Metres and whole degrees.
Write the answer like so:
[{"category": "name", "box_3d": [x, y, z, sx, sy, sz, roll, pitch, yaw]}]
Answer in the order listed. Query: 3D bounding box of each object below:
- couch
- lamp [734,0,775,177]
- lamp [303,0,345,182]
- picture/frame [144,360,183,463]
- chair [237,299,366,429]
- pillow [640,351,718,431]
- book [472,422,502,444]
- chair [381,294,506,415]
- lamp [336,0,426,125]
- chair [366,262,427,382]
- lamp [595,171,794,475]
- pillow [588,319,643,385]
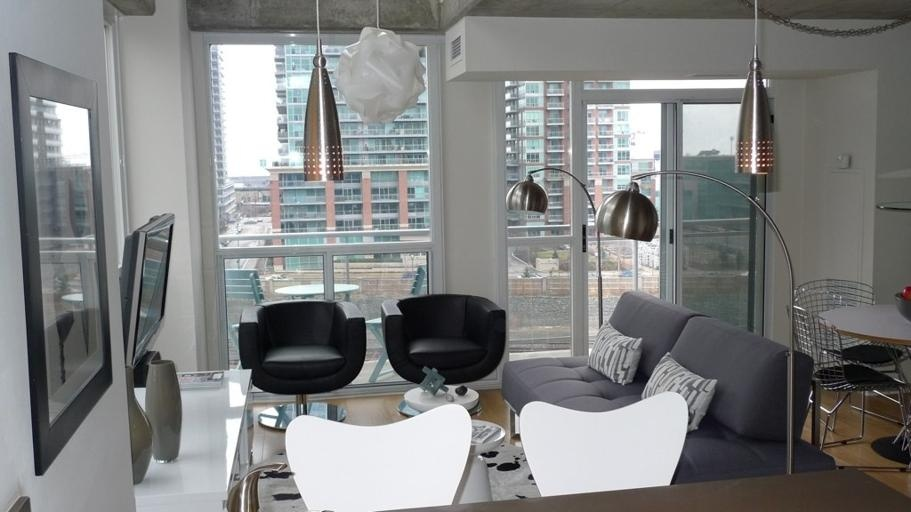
[{"category": "couch", "box_3d": [1.367, 1.101, 4.939, 1.491, 1.217, 2.586, -4, 5, -8]}, {"category": "lamp", "box_3d": [1.558, -0.768, 3.288, 0.167, 0.672, 0.223, 3, 11, 42]}, {"category": "lamp", "box_3d": [-0.614, -0.665, 2.825, 0.170, 0.652, 0.221, -6, 8, -12]}, {"category": "picture/frame", "box_3d": [-1.542, 0.828, 3.400, 0.219, 0.491, 0.212, -3, -3, -23]}, {"category": "chair", "box_3d": [-1.376, 0.938, 5.641, 1.099, 0.966, 0.867, 0, 4, -17]}, {"category": "pillow", "box_3d": [1.376, 0.808, 3.822, 0.185, 0.277, 0.461, 3, 7, -17]}, {"category": "book", "box_3d": [0.210, 1.204, 4.386, 0.187, 0.034, 0.180, -2, 8, -20]}, {"category": "chair", "box_3d": [-0.154, 0.864, 5.874, 1.108, 0.891, 0.897, -2, 6, -9]}, {"category": "lamp", "box_3d": [-0.430, -1.022, 3.591, 0.493, 0.509, 0.192, -5, 8, -5]}, {"category": "chair", "box_3d": [-0.567, 0.643, 6.876, 1.038, 1.346, 1.009, 0, 1, -5]}, {"category": "lamp", "box_3d": [1.836, 0.160, 5.297, 1.784, 1.770, 4.012, 0, 8, 28]}, {"category": "pillow", "box_3d": [1.252, 0.747, 5.011, 0.233, 0.359, 0.593, 3, 6, -11]}]
